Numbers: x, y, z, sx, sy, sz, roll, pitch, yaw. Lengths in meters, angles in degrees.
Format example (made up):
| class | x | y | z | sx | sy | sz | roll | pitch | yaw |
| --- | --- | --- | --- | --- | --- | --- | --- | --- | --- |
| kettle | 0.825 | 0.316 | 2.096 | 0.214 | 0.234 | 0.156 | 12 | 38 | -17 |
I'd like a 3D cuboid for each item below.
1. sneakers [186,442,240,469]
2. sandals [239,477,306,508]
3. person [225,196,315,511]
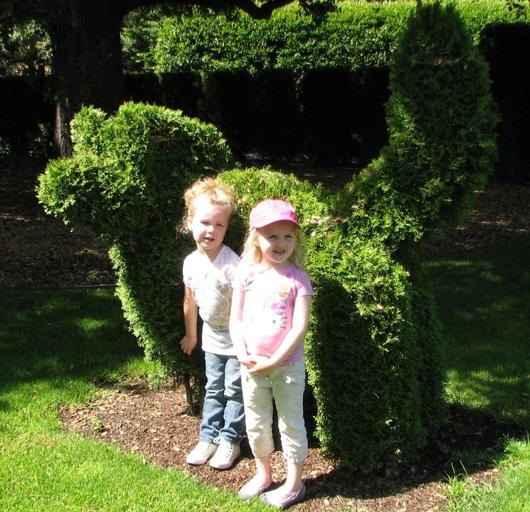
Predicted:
| class | x | y | z | sx | sy | sz | roll | pitch | yaw |
| --- | --- | --- | --- | --- | --- | --- | --- | --- | --- |
| sneakers | -0.307 | 1.214 | 4.124 | 0.173 | 0.096 | 0.268 | 9 | -2 | 27 |
| sandals | 0.039 | 1.329 | 3.769 | 0.292 | 0.089 | 0.151 | 8 | 0 | -8 |
| person | 0.029 | 0.534 | 3.780 | 0.445 | 1.655 | 0.617 | 1 | 15 | -3 |
